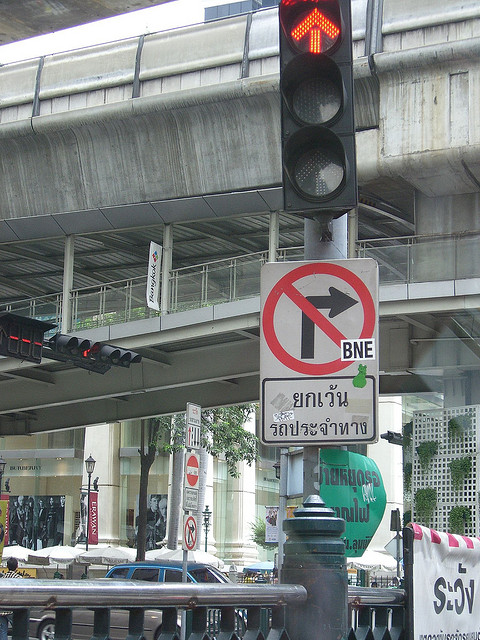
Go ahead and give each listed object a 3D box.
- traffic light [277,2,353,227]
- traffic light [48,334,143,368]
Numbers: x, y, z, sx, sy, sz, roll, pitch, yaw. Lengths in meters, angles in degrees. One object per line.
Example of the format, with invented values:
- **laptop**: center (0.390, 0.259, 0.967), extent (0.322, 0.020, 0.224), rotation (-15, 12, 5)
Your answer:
- **traffic light**: center (0.471, -1.324, 8.551), extent (0.494, 1.307, 0.371), rotation (-5, 4, 6)
- **traffic light**: center (-2.587, 0.546, 24.824), extent (1.525, 0.736, 0.619), rotation (-7, 5, -15)
